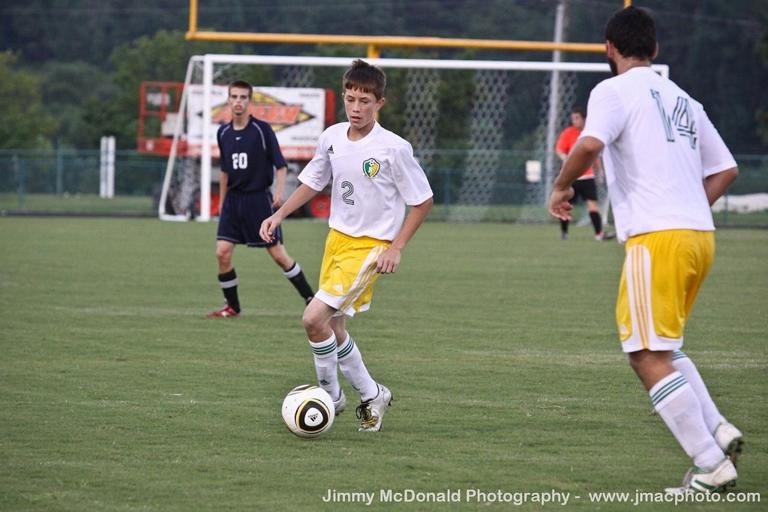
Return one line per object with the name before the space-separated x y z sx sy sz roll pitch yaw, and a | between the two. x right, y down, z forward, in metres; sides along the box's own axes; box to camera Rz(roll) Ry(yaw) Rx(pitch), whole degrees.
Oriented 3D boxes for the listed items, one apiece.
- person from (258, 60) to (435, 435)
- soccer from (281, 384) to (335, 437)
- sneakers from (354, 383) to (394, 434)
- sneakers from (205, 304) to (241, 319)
person | -0.235 -0.130 13.018 1.277 3.355 0.795 4 10 4
soccer | -0.676 1.403 13.004 0.464 0.418 0.434 -19 -4 -5
sneakers | -0.071 1.412 12.983 0.212 0.510 0.271 9 -2 34
sneakers | -1.757 0.603 15.655 0.375 0.139 0.129 3 -2 -11
